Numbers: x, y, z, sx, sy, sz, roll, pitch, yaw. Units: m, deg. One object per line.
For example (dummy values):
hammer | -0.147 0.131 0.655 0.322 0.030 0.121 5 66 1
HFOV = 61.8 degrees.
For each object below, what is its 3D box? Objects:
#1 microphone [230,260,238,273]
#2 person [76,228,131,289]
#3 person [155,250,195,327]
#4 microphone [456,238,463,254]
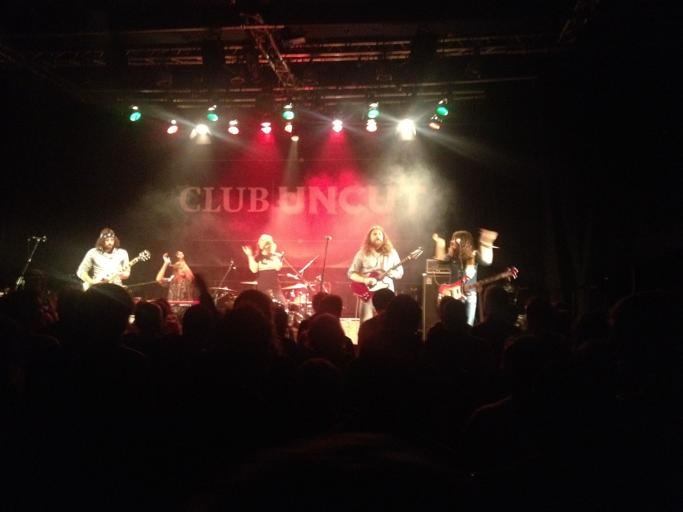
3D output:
microphone | -1.984 0.159 10.579 0.055 0.162 0.113 -9 -6 42
person | -3.768 0.183 9.165 0.759 0.625 1.190 -2 -75 -41
person | -2.889 0.512 9.854 0.560 0.450 1.564 -15 -23 -27
microphone | 1.788 -0.163 8.551 0.123 0.196 0.210 1 -92 -1
